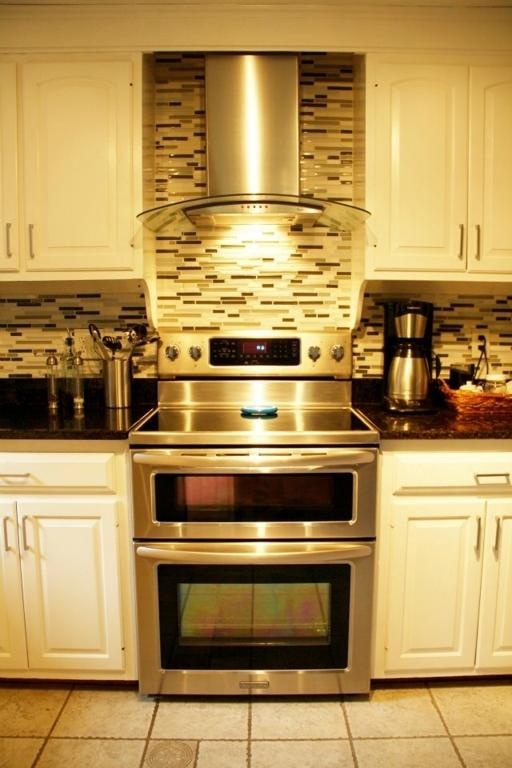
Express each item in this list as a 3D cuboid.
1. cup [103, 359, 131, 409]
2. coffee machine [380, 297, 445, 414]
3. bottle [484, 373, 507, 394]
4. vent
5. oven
[{"bbox_3d":[-0.485,-0.011,2.552,0.091,0.193,0.073,-3,13,-12],"label":"cup"},{"bbox_3d":[0.560,-0.100,2.614,0.186,0.453,0.192,0,11,-9],"label":"coffee machine"},{"bbox_3d":[0.851,-0.012,2.572,0.068,0.070,0.072,1,5,15],"label":"bottle"},{"bbox_3d":[-0.014,-0.923,2.546,0.814,0.705,0.436,-1,2,1],"label":"vent"},{"bbox_3d":[0.000,0.508,2.527,0.655,0.848,0.646,0,6,-2],"label":"oven"}]
